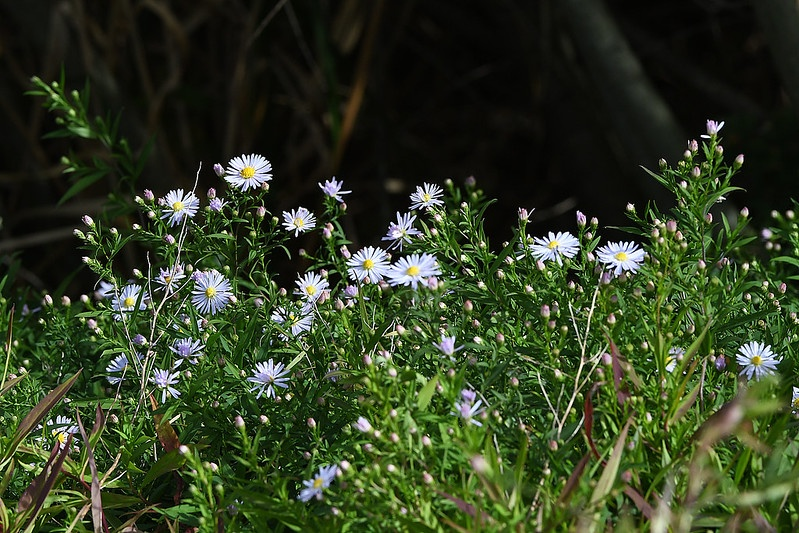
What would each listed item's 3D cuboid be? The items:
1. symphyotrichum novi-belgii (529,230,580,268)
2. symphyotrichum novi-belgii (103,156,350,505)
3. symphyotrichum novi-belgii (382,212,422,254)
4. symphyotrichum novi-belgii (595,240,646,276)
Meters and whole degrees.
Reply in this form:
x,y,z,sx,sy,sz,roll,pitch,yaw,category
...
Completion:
x,y,z,sx,sy,sz,roll,pitch,yaw,category
0.285,-0.039,1.260,0.058,0.069,0.018,-9,-48,1,symphyotrichum novi-belgii
-0.291,0.126,1.405,0.530,0.637,0.357,-5,-15,0,symphyotrichum novi-belgii
0.009,-0.066,1.340,0.030,0.078,0.072,15,-38,-20,symphyotrichum novi-belgii
0.404,-0.022,1.260,0.063,0.068,0.019,30,-31,25,symphyotrichum novi-belgii
